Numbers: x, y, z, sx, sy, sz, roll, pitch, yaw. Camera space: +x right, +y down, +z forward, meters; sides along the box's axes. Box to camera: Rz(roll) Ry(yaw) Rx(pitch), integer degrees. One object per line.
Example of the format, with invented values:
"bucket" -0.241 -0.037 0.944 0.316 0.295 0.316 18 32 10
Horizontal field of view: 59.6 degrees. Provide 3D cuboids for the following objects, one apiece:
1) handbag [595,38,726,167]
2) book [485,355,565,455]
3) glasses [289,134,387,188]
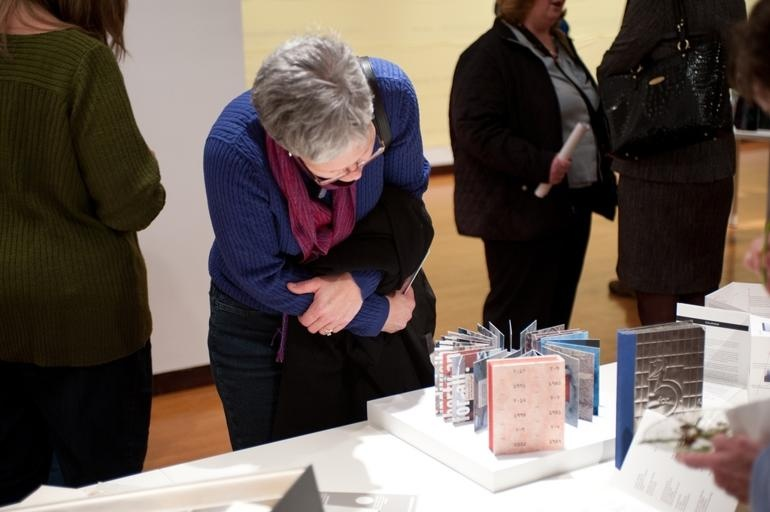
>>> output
"handbag" 1.100 -0.605 2.641 0.435 0.513 0.169 -7 19 38
"book" 0.379 0.403 1.809 0.242 0.285 0.098 -1 0 -11
"glasses" -0.131 -0.270 1.909 0.255 0.145 0.177 -3 6 -1
